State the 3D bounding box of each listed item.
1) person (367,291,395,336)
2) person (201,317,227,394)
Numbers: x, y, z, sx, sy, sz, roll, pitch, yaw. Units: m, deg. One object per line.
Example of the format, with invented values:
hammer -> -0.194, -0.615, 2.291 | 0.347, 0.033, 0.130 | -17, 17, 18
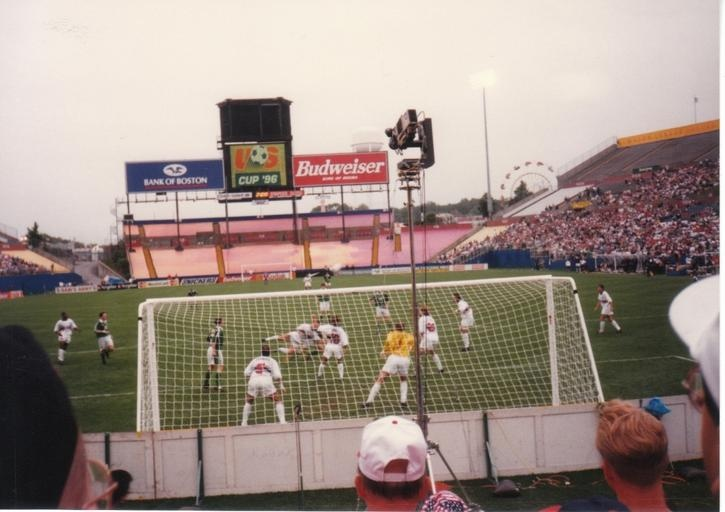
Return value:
person -> 0.629, 1.924, 30.771 | 0.626, 1.061, 1.761 | -23, 31, -16
person -> -4.638, 3.026, 27.148 | 0.733, 2.206, 1.554 | -4, 0, -10
